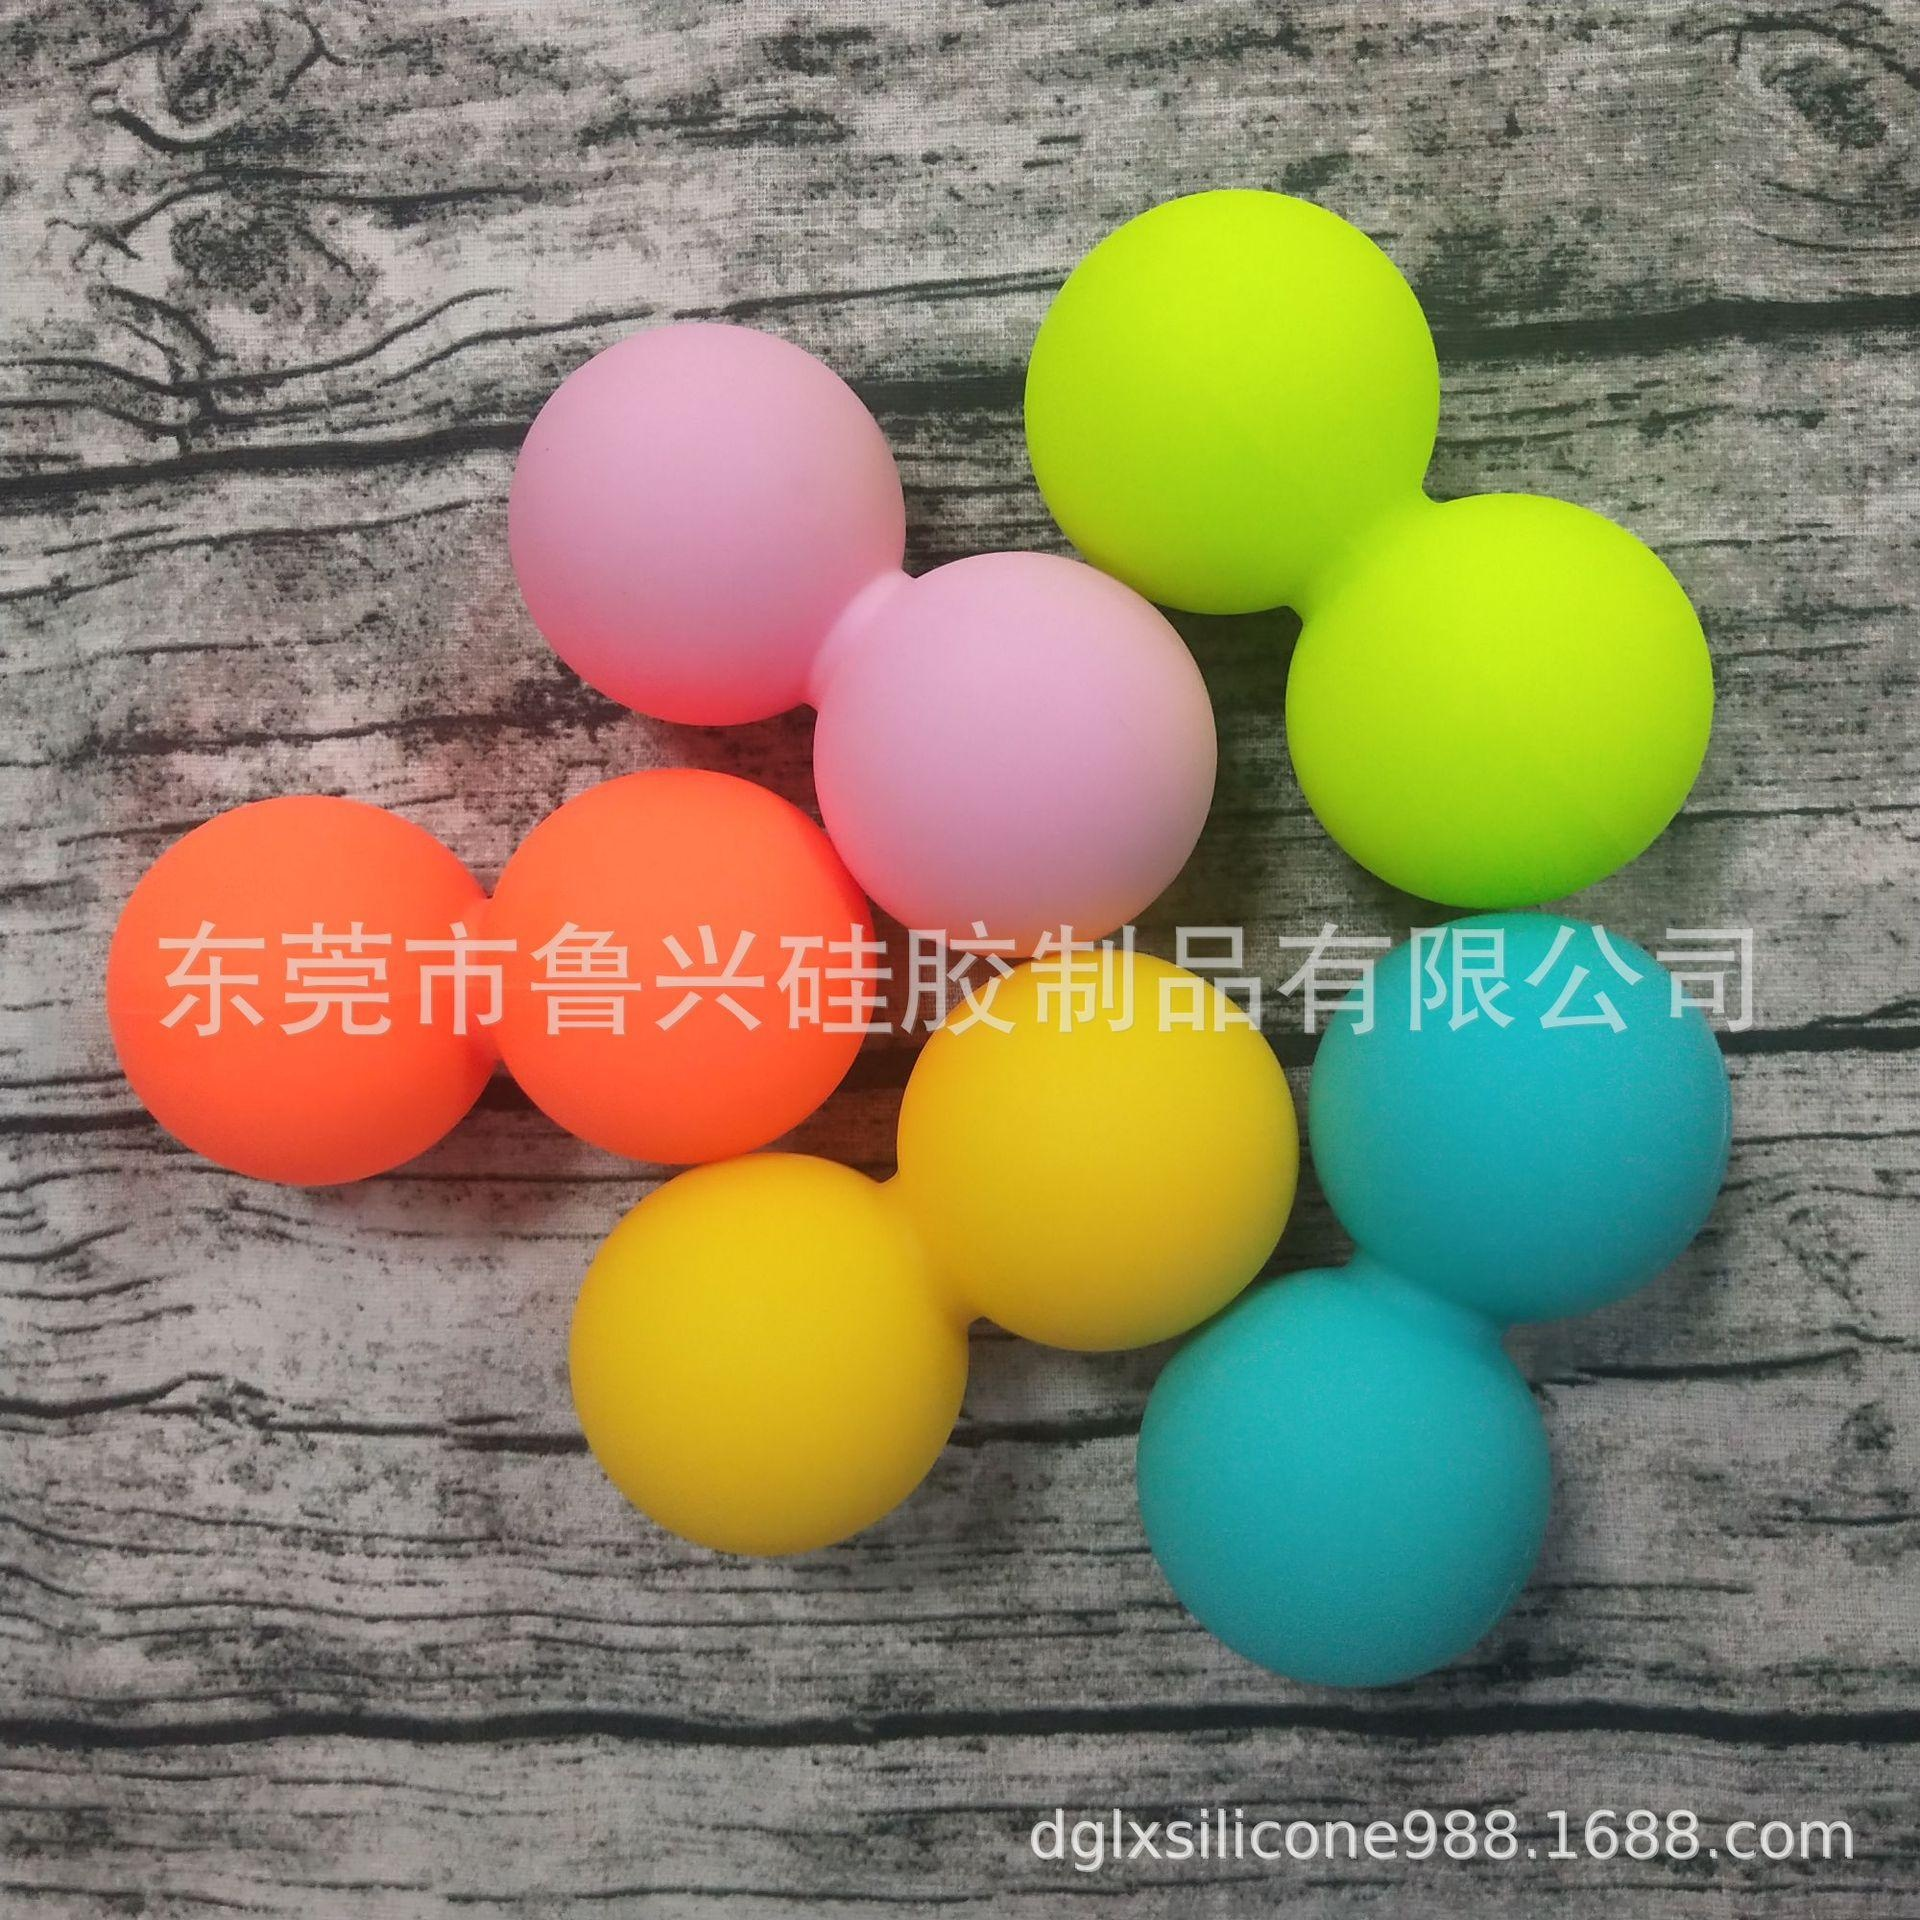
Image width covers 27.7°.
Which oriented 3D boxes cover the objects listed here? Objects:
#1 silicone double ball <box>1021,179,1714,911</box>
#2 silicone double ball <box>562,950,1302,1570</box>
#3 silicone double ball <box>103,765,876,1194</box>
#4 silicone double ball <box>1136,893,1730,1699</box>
[{"bbox_3d":[0.260,-0.262,2.394,0.509,0.238,0.273,44,115,5],"label":"silicone double ball"},{"bbox_3d":[-0.010,0.165,2.388,0.480,0.227,0.260,-33,78,3],"label":"silicone double ball"},{"bbox_3d":[-0.281,0.027,2.358,0.363,0.182,0.185,-10,75,17],"label":"silicone double ball"},{"bbox_3d":[0.234,0.215,2.476,0.263,0.259,0.541,1,41,3],"label":"silicone double ball"}]
